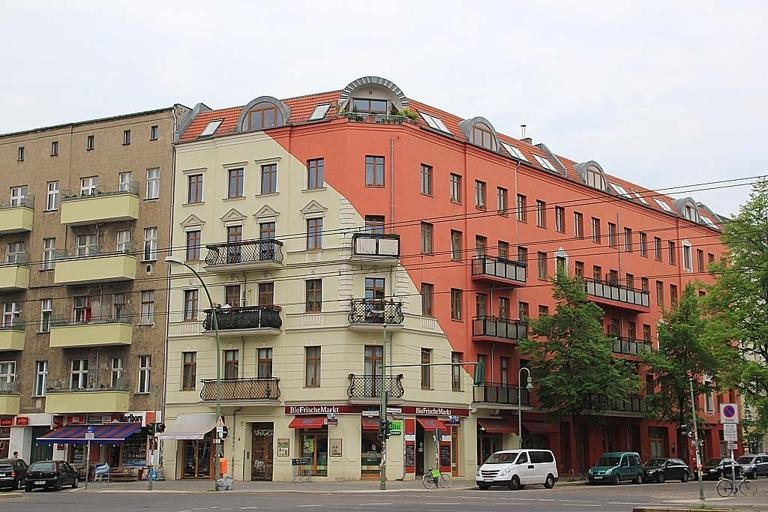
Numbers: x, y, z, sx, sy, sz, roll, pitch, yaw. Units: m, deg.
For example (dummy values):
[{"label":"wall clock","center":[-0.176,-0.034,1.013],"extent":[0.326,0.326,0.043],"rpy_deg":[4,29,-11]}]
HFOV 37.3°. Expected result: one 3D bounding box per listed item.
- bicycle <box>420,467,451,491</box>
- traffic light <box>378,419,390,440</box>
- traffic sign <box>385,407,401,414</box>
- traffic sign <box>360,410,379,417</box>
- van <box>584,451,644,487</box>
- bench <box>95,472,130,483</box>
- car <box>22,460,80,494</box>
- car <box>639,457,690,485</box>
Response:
[{"label":"bicycle","center":[3.636,15.781,80.516],"extent":[2.192,1.126,1.010],"rpy_deg":[6,-19,-14]},{"label":"traffic light","center":[-0.039,11.869,78.214],"extent":[0.594,1.432,1.078],"rpy_deg":[5,-14,6]},{"label":"traffic sign","center":[0.711,11.506,85.143],"extent":[1.194,0.439,0.292],"rpy_deg":[6,-18,-31]},{"label":"traffic sign","center":[-1.037,11.705,84.827],"extent":[1.240,0.501,0.244],"rpy_deg":[-1,-16,-6]},{"label":"van","center":[17.788,16.296,87.882],"extent":[4.370,2.395,1.612],"rpy_deg":[7,-19,-33]},{"label":"bench","center":[-21.120,17.099,88.496],"extent":[3.208,0.954,1.180],"rpy_deg":[-6,-15,14]},{"label":"car","center":[-23.601,15.731,81.697],"extent":[2.514,2.240,4.719],"rpy_deg":[-11,-17,27]},{"label":"car","center":[22.260,16.854,89.889],"extent":[4.585,1.935,1.582],"rpy_deg":[11,-20,-41]}]
